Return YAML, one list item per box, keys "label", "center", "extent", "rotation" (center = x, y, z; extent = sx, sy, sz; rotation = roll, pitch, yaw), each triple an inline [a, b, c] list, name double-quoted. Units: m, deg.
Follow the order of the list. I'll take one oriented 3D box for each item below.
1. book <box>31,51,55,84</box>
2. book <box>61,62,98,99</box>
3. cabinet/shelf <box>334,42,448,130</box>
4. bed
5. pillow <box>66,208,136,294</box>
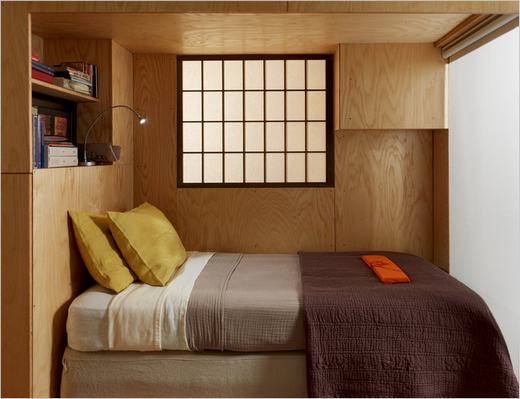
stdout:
- label: "book"
  center: [-1.557, -0.926, 3.160]
  extent: [0.179, 0.132, 0.197]
  rotation: [2, 6, -6]
- label: "book"
  center: [-1.474, -0.961, 3.598]
  extent: [0.296, 0.326, 0.111]
  rotation: [1, -5, -17]
- label: "cabinet/shelf"
  center: [1.198, -1.029, 3.969]
  extent: [0.654, 0.554, 0.231]
  rotation: [0, -1, 2]
- label: "bed"
  center: [0.299, 0.917, 3.152]
  extent: [1.844, 0.578, 1.353]
  rotation: [0, 4, -2]
- label: "pillow"
  center: [-1.153, 0.387, 3.235]
  extent: [0.153, 0.541, 0.539]
  rotation: [-26, -17, 12]
